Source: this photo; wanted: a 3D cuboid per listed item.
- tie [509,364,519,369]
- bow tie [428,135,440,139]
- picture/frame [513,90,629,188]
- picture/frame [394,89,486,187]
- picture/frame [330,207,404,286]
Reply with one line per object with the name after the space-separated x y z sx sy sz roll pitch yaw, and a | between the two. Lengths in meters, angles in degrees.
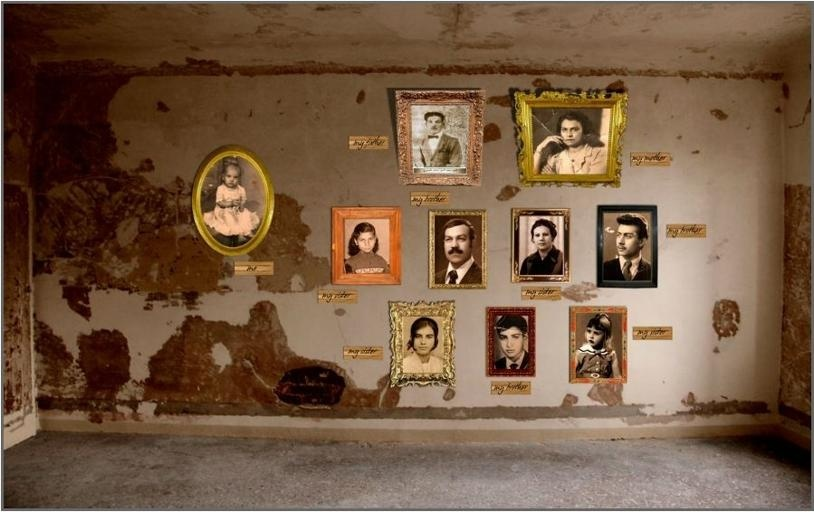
1.348 1.390 9.642 0.086 0.056 0.021 9 -7 2 | tie
0.335 -1.515 9.626 0.129 0.045 0.015 3 2 8 | bow tie
2.068 -1.543 9.622 1.303 1.056 0.069 0 3 1 | picture/frame
0.434 -1.556 9.625 1.299 1.248 0.120 0 3 1 | picture/frame
-0.469 -0.148 9.661 1.083 1.126 0.097 0 -2 -1 | picture/frame
